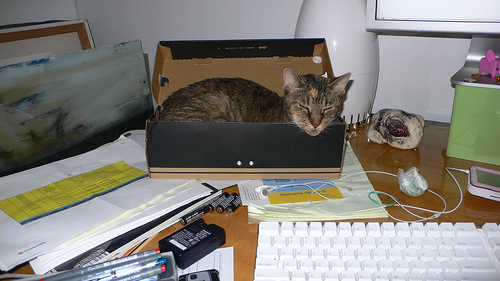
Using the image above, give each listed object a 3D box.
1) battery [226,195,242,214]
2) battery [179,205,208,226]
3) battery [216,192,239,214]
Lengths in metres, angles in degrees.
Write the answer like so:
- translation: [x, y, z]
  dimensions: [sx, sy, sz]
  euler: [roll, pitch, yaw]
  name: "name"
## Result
- translation: [-0.054, 0.219, 1.136]
  dimensions: [0.023, 0.023, 0.079]
  euler: [25, 25, 14]
  name: "battery"
- translation: [-0.189, 0.247, 1.109]
  dimensions: [0.126, 0.039, 0.037]
  euler: [-23, 70, -29]
  name: "battery"
- translation: [-0.079, 0.209, 1.153]
  dimensions: [0.032, 0.030, 0.100]
  euler: [41, 40, 11]
  name: "battery"
